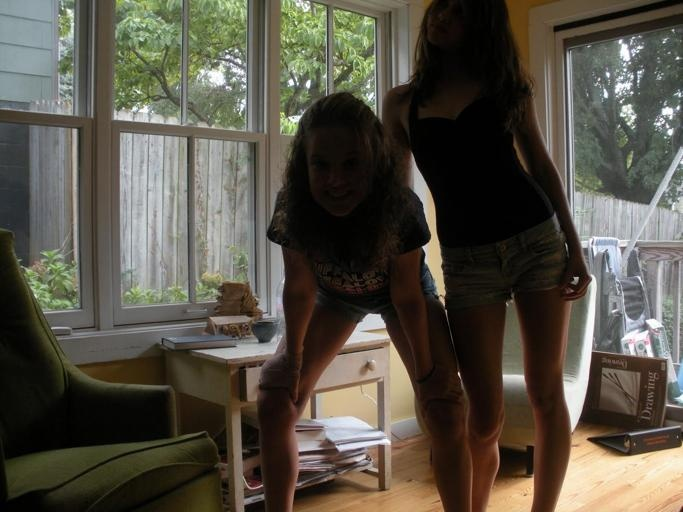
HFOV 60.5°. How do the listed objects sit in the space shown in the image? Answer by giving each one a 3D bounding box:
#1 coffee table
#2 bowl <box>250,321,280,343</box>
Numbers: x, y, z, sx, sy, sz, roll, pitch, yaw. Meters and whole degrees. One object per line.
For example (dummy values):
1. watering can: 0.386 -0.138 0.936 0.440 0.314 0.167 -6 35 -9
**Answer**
1. coffee table: -0.298 0.561 2.860 0.705 0.908 0.988 -2 -2 41
2. bowl: -0.364 0.352 2.766 0.096 0.086 0.104 -2 -4 0
